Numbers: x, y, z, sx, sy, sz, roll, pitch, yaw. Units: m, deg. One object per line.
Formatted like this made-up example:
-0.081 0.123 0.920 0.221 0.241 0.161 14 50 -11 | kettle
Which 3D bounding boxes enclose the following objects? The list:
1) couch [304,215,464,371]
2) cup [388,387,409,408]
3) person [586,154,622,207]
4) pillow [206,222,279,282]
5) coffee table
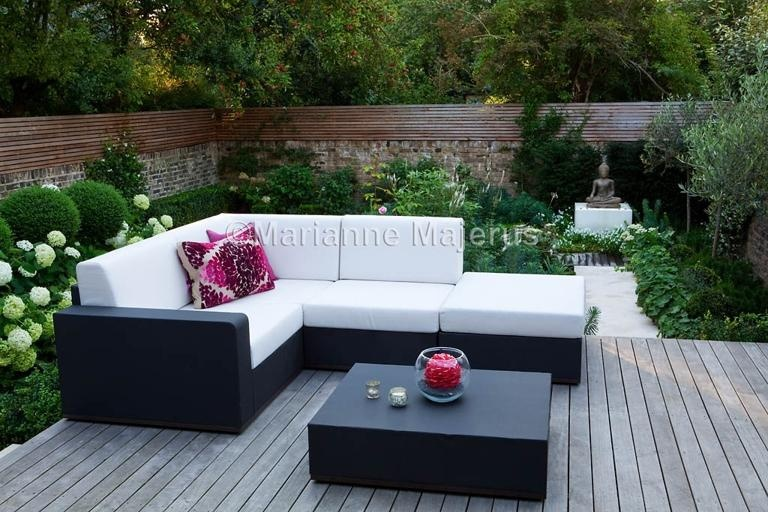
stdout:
0.086 0.331 5.016 1.264 1.341 1.396 2 9 13 | couch
0.096 0.897 3.360 0.104 0.084 0.108 0 6 0 | cup
4.493 -1.482 10.736 0.631 0.979 0.613 -3 9 -6 | person
-1.347 -0.113 4.886 0.163 0.547 0.565 -24 -20 23 | pillow
0.610 0.965 3.739 0.989 0.460 1.422 2 24 11 | coffee table
